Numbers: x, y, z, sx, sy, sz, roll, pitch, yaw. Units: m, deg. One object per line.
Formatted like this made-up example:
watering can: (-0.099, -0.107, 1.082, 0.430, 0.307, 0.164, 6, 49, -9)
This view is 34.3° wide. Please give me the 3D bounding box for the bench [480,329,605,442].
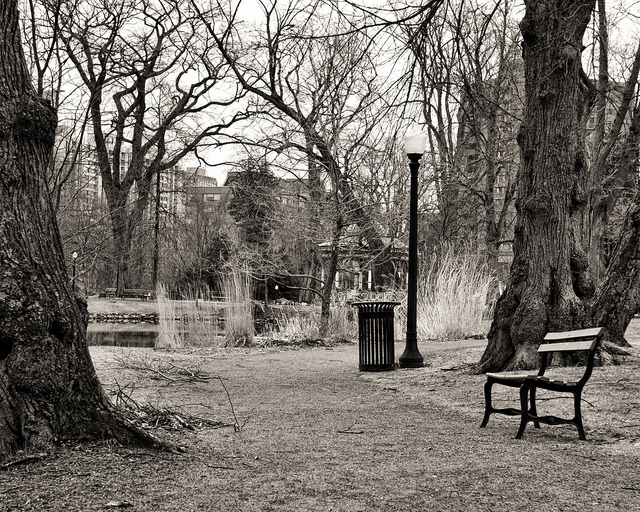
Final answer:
bench: (2.442, 1.403, 11.673, 0.841, 1.277, 1.555, 6, -6, -8)
